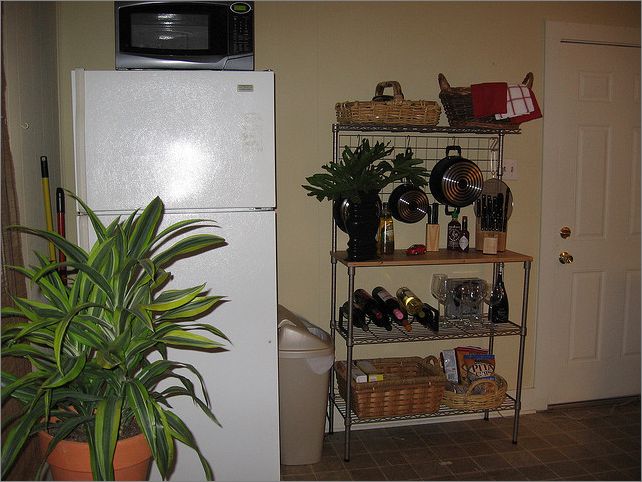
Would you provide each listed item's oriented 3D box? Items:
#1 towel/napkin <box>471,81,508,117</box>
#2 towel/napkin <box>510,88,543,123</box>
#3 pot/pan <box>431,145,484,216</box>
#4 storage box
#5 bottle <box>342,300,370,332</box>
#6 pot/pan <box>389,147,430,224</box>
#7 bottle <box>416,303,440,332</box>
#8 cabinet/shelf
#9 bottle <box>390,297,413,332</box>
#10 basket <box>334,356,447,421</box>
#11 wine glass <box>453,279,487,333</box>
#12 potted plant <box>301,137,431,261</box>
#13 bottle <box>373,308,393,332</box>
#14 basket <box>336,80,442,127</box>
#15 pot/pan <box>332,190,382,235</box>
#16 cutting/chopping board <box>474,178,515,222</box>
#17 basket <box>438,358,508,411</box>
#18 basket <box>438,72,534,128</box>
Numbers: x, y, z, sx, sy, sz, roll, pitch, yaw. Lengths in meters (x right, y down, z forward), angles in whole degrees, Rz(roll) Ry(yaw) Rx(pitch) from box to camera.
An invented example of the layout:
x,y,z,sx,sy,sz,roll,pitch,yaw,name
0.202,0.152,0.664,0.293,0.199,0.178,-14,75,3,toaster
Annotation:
x,y,z,sx,sy,sz,roll,pitch,yaw,name
0.946,-0.804,3.040,0.180,0.196,0.062,1,4,1,towel/napkin
1.220,-0.784,3.179,0.058,0.208,0.200,3,6,-4,towel/napkin
0.810,-0.351,3.087,0.271,0.370,0.093,-2,5,-4,pot/pan
0.411,0.839,3.120,0.457,0.243,0.336,-2,9,-10,storage box
0.191,0.410,3.070,0.161,0.216,0.294,1,13,3,bottle
0.514,-0.328,3.192,0.235,0.424,0.061,-3,7,-10,pot/pan
0.627,0.445,3.109,0.077,0.129,0.202,-6,15,-26,bottle
0.641,0.274,3.229,1.030,1.934,0.606,-1,9,-3,cabinet/shelf
0.459,0.418,3.112,0.118,0.175,0.280,2,13,8,bottle
0.419,0.837,3.122,0.459,0.244,0.338,-2,9,-10,basket
0.867,0.354,3.162,0.240,0.269,0.156,-2,13,-9,wine glass
0.194,-0.272,3.101,0.646,0.683,0.705,-1,6,-13,potted plant
0.348,0.445,3.065,0.097,0.134,0.190,2,13,6,bottle
0.385,-0.728,2.996,0.421,0.203,0.311,-3,16,-8,basket
0.148,-0.161,2.984,0.217,0.235,0.051,0,4,-22,pot/pan
1.033,-0.247,3.258,0.256,0.321,0.040,0,-4,-7,cutting/chopping board
0.888,0.832,3.093,0.254,0.147,0.355,-1,-1,6,basket
0.974,-0.787,3.095,0.364,0.226,0.413,0,13,9,basket
